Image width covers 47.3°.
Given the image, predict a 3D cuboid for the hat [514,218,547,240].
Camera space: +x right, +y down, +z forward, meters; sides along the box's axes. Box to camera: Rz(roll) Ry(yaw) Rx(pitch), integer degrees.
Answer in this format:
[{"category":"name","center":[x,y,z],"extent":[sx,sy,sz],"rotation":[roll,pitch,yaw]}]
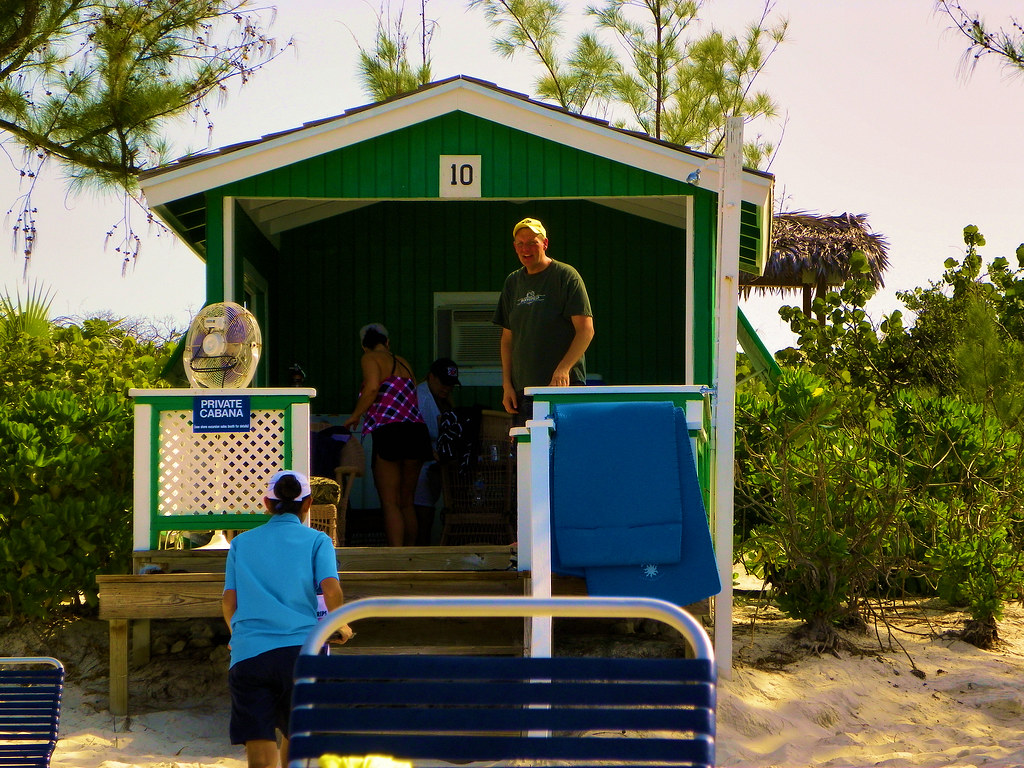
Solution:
[{"category":"hat","center":[0.156,-1.373,10.297],"extent":[0.239,0.241,0.394],"rotation":[2,4,2]}]

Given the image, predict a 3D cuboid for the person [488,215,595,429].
[{"category":"person","center":[0.264,-0.508,10.269],"extent":[0.603,1.795,1.266],"rotation":[-2,14,-35]}]

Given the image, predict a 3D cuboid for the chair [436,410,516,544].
[{"category":"chair","center":[-0.357,1.022,12.805],"extent":[0.997,1.819,1.180],"rotation":[0,-12,-1]}]

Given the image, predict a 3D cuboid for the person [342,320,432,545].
[{"category":"person","center":[-1.249,0.536,11.909],"extent":[0.794,2.074,1.078],"rotation":[5,11,2]}]

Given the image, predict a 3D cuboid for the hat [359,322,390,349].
[{"category":"hat","center":[-1.441,-0.527,12.199],"extent":[0.217,0.395,0.341],"rotation":[-1,11,0]}]
